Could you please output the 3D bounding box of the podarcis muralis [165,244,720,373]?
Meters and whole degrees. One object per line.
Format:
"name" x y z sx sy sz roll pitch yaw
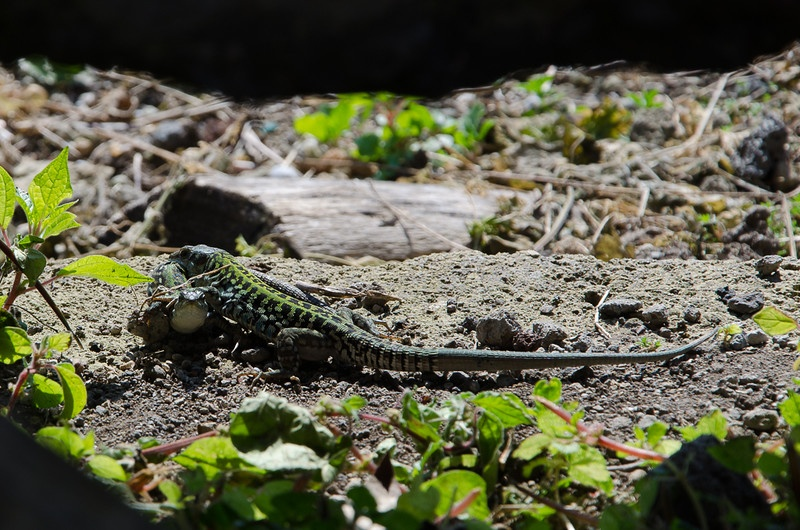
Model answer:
"podarcis muralis" -0.420 0.380 5.630 3.435 0.668 0.965 8 23 24
